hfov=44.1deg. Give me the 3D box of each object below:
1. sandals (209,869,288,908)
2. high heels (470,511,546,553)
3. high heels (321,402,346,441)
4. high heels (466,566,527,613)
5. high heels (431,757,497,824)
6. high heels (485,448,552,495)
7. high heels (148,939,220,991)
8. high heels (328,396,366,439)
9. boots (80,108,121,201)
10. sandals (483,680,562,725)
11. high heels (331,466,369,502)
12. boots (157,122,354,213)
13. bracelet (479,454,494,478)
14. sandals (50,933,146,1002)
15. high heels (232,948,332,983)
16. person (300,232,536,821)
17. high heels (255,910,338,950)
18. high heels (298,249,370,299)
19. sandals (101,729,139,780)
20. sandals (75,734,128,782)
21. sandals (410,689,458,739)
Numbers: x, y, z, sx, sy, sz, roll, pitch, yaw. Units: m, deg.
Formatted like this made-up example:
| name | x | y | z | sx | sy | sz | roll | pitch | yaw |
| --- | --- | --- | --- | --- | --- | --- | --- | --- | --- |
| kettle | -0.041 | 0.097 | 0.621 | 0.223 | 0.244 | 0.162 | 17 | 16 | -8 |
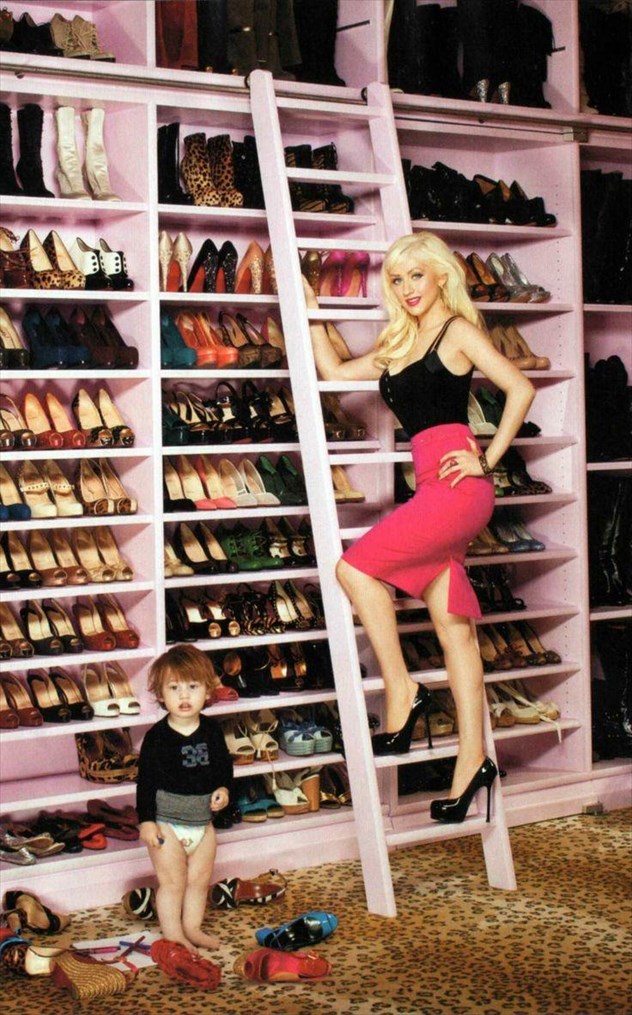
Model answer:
| name | x | y | z | sx | sy | sz | roll | pitch | yaw |
| --- | --- | --- | --- | --- | --- | --- | --- | --- | --- |
| sandals | -0.187 | 1.092 | 2.190 | 0.181 | 0.072 | 0.096 | -1 | 13 | -13 |
| high heels | 0.782 | 0.083 | 3.207 | 0.161 | 0.099 | 0.265 | -5 | 7 | -36 |
| high heels | 0.064 | -0.301 | 2.774 | 0.055 | 0.077 | 0.181 | -2 | 7 | -6 |
| high heels | 0.732 | 0.332 | 3.209 | 0.124 | 0.140 | 0.378 | -4 | 2 | 2 |
| high heels | 0.399 | 0.777 | 2.171 | 0.231 | 0.228 | 0.123 | 1 | -5 | -2 |
| high heels | 0.803 | -0.129 | 3.094 | 0.116 | 0.152 | 0.349 | -5 | 6 | -7 |
| high heels | -0.276 | 0.930 | 1.629 | 0.144 | 0.049 | 0.086 | 16 | 15 | 29 |
| high heels | 0.093 | -0.318 | 2.803 | 0.079 | 0.090 | 0.225 | -8 | 20 | -13 |
| boots | -0.706 | -1.104 | 2.529 | 0.108 | 0.349 | 0.249 | 3 | -10 | -17 |
| sandals | 0.800 | 0.797 | 3.167 | 0.227 | 0.132 | 0.356 | -4 | 3 | -44 |
| high heels | 0.111 | -0.080 | 2.837 | 0.063 | 0.090 | 0.212 | -3 | 3 | -9 |
| boots | -0.227 | -1.150 | 2.655 | 0.377 | 0.180 | 0.497 | -6 | 27 | -21 |
| bracelet | 0.416 | -0.104 | 1.930 | 0.019 | 0.050 | 0.044 | -11 | -7 | 3 |
| sandals | -0.451 | 0.981 | 1.640 | 0.116 | 0.035 | 0.115 | -4 | 9 | -38 |
| high heels | -0.067 | 0.970 | 1.652 | 0.232 | 0.082 | 0.087 | 2 | -10 | -5 |
| person | 0.287 | 0.054 | 2.084 | 0.594 | 1.553 | 0.393 | -3 | -10 | 16 |
| high heels | -0.036 | 0.979 | 1.849 | 0.212 | 0.081 | 0.078 | -8 | -3 | -4 |
| high heels | 0.052 | -0.886 | 2.908 | 0.135 | 0.157 | 0.383 | -5 | 18 | -20 |
| sandals | -0.621 | 0.776 | 2.458 | 0.111 | 0.132 | 0.255 | 2 | -10 | -14 |
| sandals | -0.661 | 0.758 | 2.437 | 0.122 | 0.081 | 0.222 | -2 | 11 | -24 |
| sandals | 0.499 | 0.790 | 3.061 | 0.146 | 0.197 | 0.488 | -2 | -8 | 16 |
